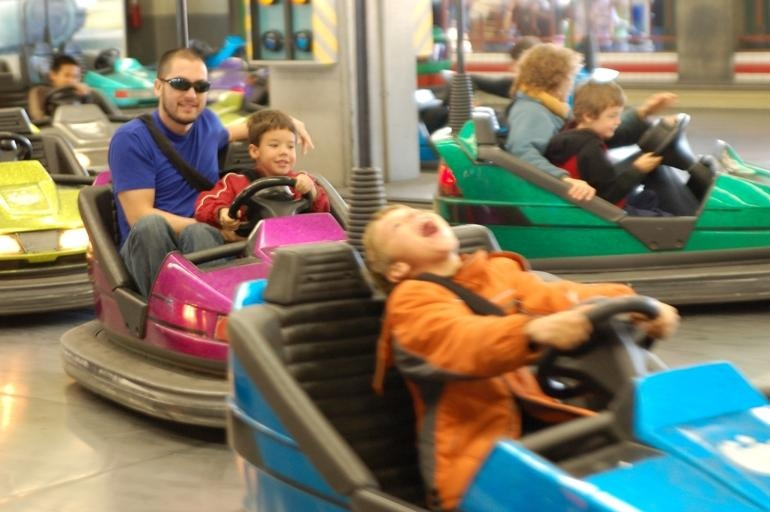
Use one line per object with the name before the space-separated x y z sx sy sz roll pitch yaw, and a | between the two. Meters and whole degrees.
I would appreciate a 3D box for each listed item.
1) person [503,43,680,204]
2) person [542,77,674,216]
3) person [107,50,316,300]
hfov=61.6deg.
person | 1.007 -0.688 3.467 0.704 0.827 1.088 20 37 25
person | 1.066 -0.655 3.515 0.811 0.754 0.580 -5 28 11
person | -0.721 -0.278 2.906 0.917 1.102 0.784 -1 24 -7
